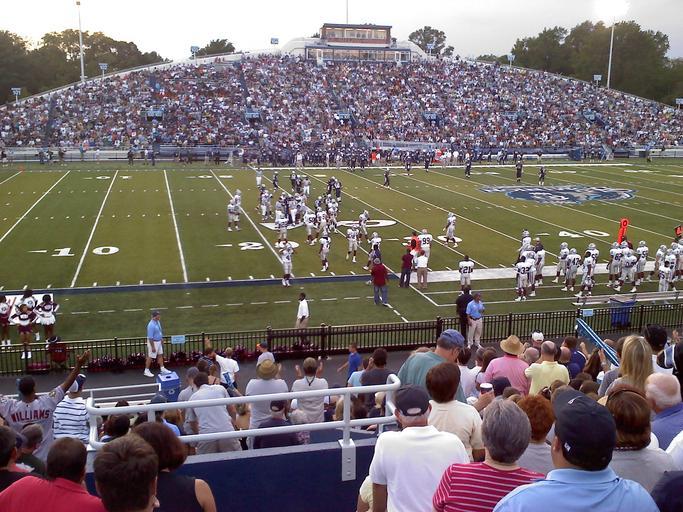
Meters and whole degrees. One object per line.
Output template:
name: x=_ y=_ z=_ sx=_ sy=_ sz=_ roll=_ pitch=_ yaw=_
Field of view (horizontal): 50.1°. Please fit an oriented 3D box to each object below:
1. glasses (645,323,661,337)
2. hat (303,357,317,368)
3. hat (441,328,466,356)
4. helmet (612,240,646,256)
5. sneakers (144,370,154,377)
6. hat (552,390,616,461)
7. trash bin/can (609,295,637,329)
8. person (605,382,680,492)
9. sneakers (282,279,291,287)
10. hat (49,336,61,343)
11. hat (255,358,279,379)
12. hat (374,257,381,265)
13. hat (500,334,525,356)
glasses: x=2.913 y=0.698 z=6.805 sx=0.094 sy=0.121 sz=0.124 roll=7 pitch=28 yaw=0
hat: x=-0.356 y=1.211 z=8.291 sx=0.119 sy=0.135 sz=0.288 roll=0 pitch=6 yaw=4
hat: x=0.968 y=0.719 z=6.353 sx=0.224 sy=0.150 sz=0.282 roll=30 pitch=8 yaw=-3
helmet: x=7.689 y=-0.179 z=19.591 sx=0.591 sy=0.295 sz=0.393 roll=5 pitch=16 yaw=14
sneakers: x=-3.296 y=2.047 z=12.569 sx=0.169 sy=0.117 sz=0.086 roll=3 pitch=7 yaw=3
hat: x=1.403 y=0.995 z=4.295 sx=0.283 sy=0.237 sz=0.430 roll=2 pitch=44 yaw=6
trash bin/can: x=5.809 y=1.166 z=15.296 sx=0.744 sy=0.478 sz=0.751 roll=-3 pitch=14 yaw=4
person: x=1.953 y=1.204 z=4.738 sx=0.441 sy=0.947 sz=0.309 roll=-6 pitch=16 yaw=2
sneakers: x=-1.391 y=0.669 z=18.364 sx=0.194 sy=0.271 sz=0.159 roll=2 pitch=19 yaw=2
hat: x=-4.894 y=1.433 z=12.433 sx=0.170 sy=0.118 sz=0.289 roll=-2 pitch=6 yaw=-20
hat: x=-0.797 y=1.229 z=7.870 sx=0.220 sy=0.291 sz=0.406 roll=-1 pitch=6 yaw=-7
hat: x=0.829 y=0.134 z=17.093 sx=0.163 sy=0.080 sz=0.215 roll=-1 pitch=5 yaw=6
hat: x=1.890 y=1.009 z=8.136 sx=0.199 sy=0.250 sz=0.274 roll=0 pitch=6 yaw=8
